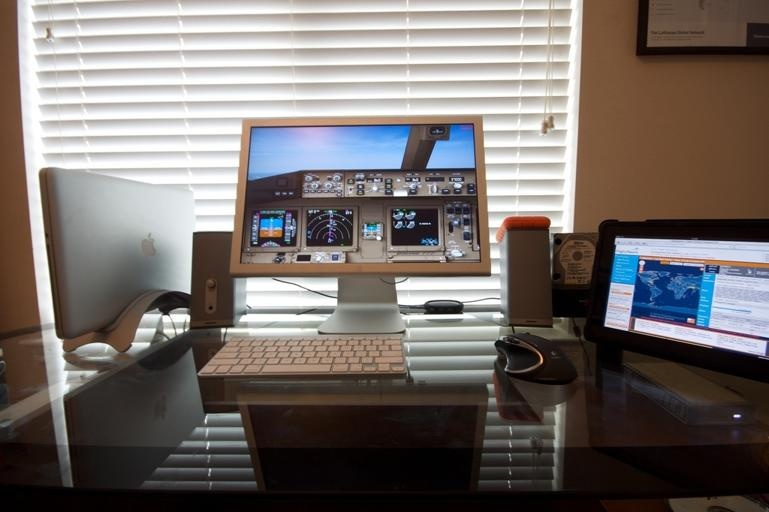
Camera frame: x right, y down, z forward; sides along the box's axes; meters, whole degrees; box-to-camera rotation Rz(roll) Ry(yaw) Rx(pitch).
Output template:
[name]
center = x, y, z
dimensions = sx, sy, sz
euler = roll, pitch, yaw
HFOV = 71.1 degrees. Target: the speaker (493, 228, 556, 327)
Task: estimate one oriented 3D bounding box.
[speaker]
center = 0.480, 0.069, 1.870
dimensions = 0.211, 0.343, 0.122
euler = 4, 8, 22
